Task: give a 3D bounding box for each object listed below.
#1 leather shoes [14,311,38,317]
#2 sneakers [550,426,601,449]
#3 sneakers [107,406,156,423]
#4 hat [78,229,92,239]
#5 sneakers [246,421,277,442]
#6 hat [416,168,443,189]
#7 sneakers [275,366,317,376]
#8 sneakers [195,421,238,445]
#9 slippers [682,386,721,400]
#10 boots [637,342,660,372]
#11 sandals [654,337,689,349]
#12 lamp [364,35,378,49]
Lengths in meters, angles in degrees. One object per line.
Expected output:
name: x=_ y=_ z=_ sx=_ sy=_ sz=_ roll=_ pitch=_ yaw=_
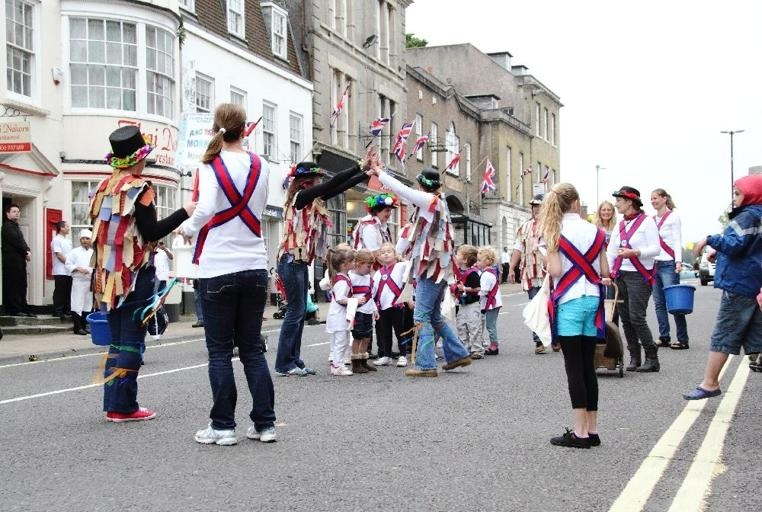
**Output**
leather shoes: x=-7.677 y=1.274 z=16.711 sx=0.426 sy=0.163 sz=0.142 roll=1 pitch=2 yaw=-8
sneakers: x=1.680 y=1.565 z=6.672 sx=0.404 sy=0.172 sz=0.155 roll=4 pitch=-3 yaw=10
sneakers: x=-2.476 y=1.589 z=7.698 sx=0.462 sy=0.179 sz=0.167 roll=-2 pitch=0 yaw=-14
hat: x=-6.558 y=-0.490 z=17.107 sx=0.238 sy=0.209 sz=0.277 roll=-2 pitch=-11 yaw=0
sneakers: x=-1.065 y=1.580 z=6.983 sx=0.120 sy=0.147 sz=0.318 roll=0 pitch=3 yaw=-42
hat: x=0.605 y=-0.979 z=9.767 sx=0.230 sy=0.160 sz=0.299 roll=3 pitch=22 yaw=-9
sneakers: x=-1.117 y=1.511 z=10.039 sx=0.178 sy=0.210 sz=0.497 roll=-7 pitch=-13 yaw=38
sneakers: x=-1.463 y=1.583 z=6.909 sx=0.395 sy=0.195 sz=0.154 roll=4 pitch=-3 yaw=16
slippers: x=3.233 y=1.389 z=7.834 sx=0.460 sy=0.151 sz=0.161 roll=-3 pitch=-10 yaw=-10
boots: x=3.500 y=1.348 z=10.012 sx=0.393 sy=0.420 sz=0.243 roll=1 pitch=-2 yaw=7
sandals: x=4.597 y=1.410 z=12.368 sx=0.213 sy=0.260 sz=0.612 roll=1 pitch=-6 yaw=-39
lamp: x=-0.435 y=-9.296 z=33.247 sx=0.707 sy=0.329 sz=0.556 roll=-11 pitch=-18 yaw=25
